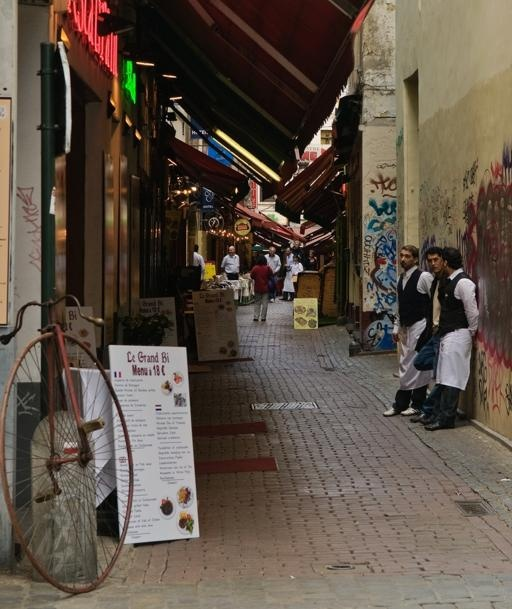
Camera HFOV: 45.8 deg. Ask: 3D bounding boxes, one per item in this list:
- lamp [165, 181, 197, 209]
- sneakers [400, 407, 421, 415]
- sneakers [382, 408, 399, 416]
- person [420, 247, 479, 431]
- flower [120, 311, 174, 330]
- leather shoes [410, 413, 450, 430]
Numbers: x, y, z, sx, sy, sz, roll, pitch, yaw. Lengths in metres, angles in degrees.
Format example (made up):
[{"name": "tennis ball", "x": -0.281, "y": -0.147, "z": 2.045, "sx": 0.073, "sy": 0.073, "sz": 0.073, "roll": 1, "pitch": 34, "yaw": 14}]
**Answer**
[{"name": "lamp", "x": -2.919, "y": -4.282, "z": 23.700, "sx": 1.399, "sy": 1.185, "sz": 0.541, "roll": 5, "pitch": -7, "yaw": -2}, {"name": "sneakers", "x": 1.963, "y": 1.361, "z": 7.720, "sx": 0.259, "sy": 0.131, "sz": 0.093, "roll": 0, "pitch": 0, "yaw": -9}, {"name": "sneakers", "x": 1.708, "y": 1.382, "z": 7.703, "sx": 0.230, "sy": 0.097, "sz": 0.077, "roll": -1, "pitch": 2, "yaw": -29}, {"name": "person", "x": 2.163, "y": 0.395, "z": 6.711, "sx": 0.568, "sy": 2.041, "sz": 0.321, "roll": -1, "pitch": 1, "yaw": 29}, {"name": "flower", "x": -1.755, "y": 0.297, "z": 9.264, "sx": 0.478, "sy": 0.246, "sz": 0.455, "roll": 0, "pitch": 5, "yaw": 7}, {"name": "leather shoes", "x": 2.014, "y": 1.379, "z": 6.954, "sx": 0.363, "sy": 0.171, "sz": 0.130, "roll": 13, "pitch": 1, "yaw": 7}]
